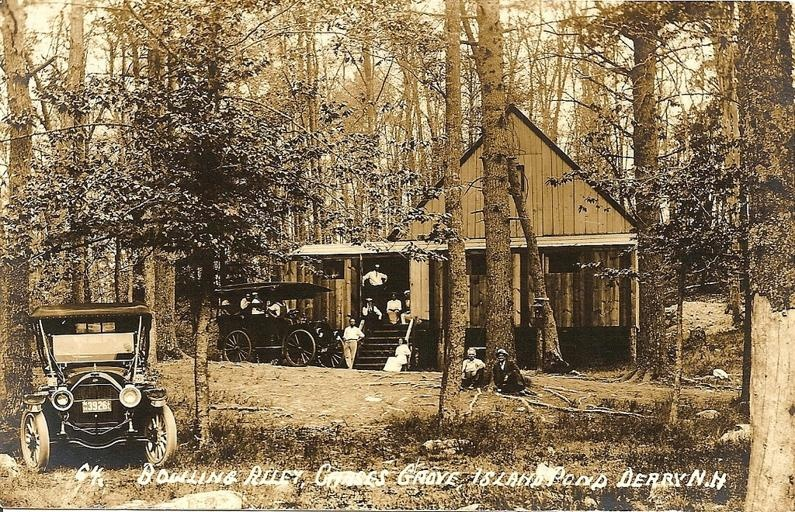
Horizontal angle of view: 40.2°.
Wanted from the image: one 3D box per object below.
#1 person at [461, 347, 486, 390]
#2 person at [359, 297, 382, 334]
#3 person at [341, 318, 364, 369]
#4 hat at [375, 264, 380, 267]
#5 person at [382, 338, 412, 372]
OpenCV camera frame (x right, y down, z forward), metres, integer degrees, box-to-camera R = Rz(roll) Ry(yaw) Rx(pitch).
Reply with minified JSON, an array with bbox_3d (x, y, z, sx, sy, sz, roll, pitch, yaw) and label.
[{"bbox_3d":[2.004,2.971,28.916,0.627,1.029,0.565,-1,-2,7],"label":"person"},{"bbox_3d":[-0.848,1.822,33.911,0.663,1.056,1.622,-1,-3,1],"label":"person"},{"bbox_3d":[-1.381,2.602,32.514,0.605,1.404,0.521,-1,-2,-16],"label":"person"},{"bbox_3d":[-0.695,0.310,35.091,0.101,0.099,0.074,11,-3,-22],"label":"hat"},{"bbox_3d":[-0.007,2.891,31.971,0.921,0.919,0.681,1,-3,-44],"label":"person"}]
